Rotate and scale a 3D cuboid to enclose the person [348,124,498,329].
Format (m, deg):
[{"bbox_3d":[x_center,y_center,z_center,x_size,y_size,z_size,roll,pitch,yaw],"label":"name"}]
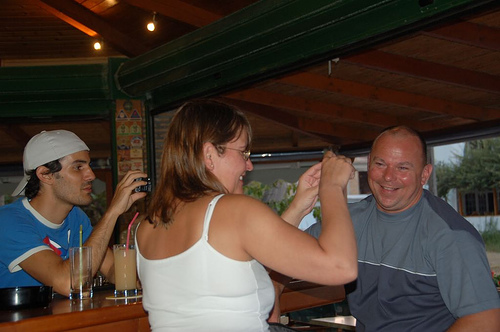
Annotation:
[{"bbox_3d":[1.030,0.358,2.679,0.854,1.297,0.291,-7,-10,33],"label":"person"}]

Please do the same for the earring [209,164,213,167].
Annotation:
[{"bbox_3d":[-0.183,-0.003,1.993,0.017,0.011,0.004,5,-10,-34],"label":"earring"}]

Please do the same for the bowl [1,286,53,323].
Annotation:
[{"bbox_3d":[-1.203,0.730,2.266,0.253,0.143,0.305,3,-10,-25],"label":"bowl"}]
